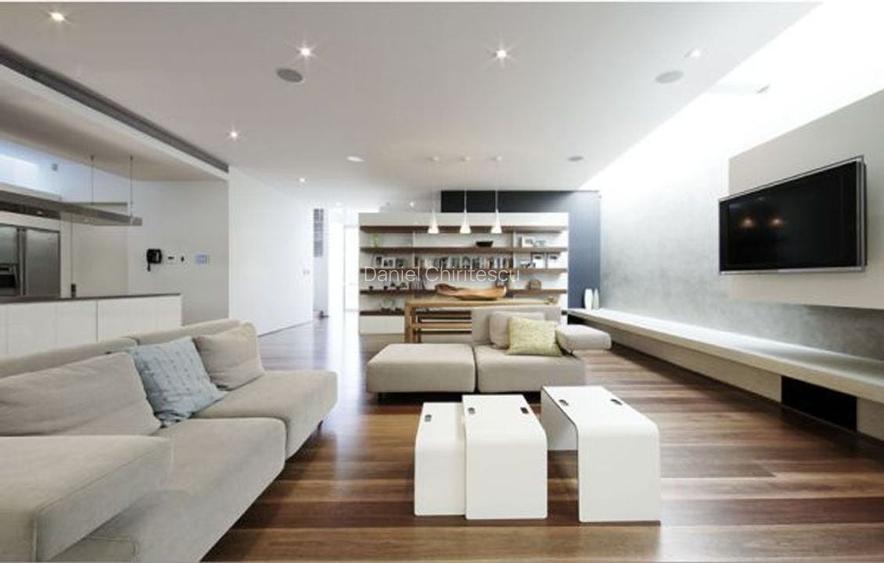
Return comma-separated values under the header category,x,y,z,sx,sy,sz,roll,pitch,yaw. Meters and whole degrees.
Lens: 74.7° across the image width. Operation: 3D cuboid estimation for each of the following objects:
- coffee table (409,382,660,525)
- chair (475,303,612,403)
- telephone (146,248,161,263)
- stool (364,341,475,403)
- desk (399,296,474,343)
category,x,y,z,sx,sy,sz,roll,pitch,yaw
coffee table,0.751,1.469,5.104,1.631,0.628,1.137,0,-6,-1
chair,0.966,0.851,6.650,1.545,0.914,1.104,2,1,-5
telephone,-4.326,-0.374,8.722,0.213,0.209,0.091,-2,3,-29
stool,-0.256,1.091,6.728,1.374,0.418,1.265,2,-7,-19
desk,0.046,0.635,8.005,1.026,0.682,0.697,-1,0,7
